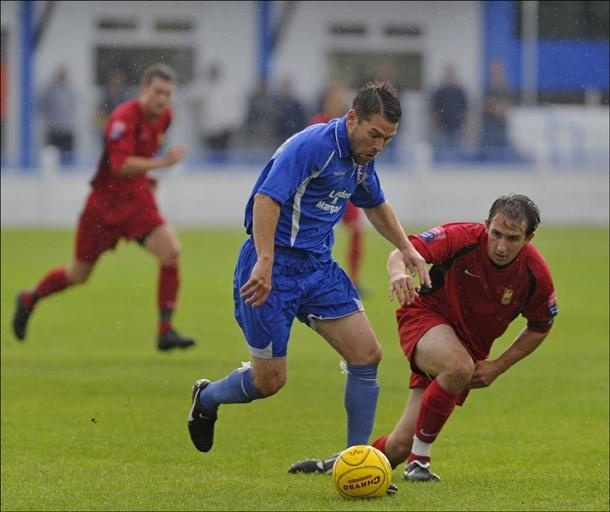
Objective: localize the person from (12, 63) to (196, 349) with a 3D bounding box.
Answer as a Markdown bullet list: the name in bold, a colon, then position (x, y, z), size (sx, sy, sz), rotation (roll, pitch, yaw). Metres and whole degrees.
- **person**: position (-1.429, -0.324, 7.388), size (1.171, 2.206, 0.546), rotation (0, 10, -7)

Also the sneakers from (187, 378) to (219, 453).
- **sneakers**: position (-0.659, 1.016, 6.258), size (0.155, 0.488, 0.174), rotation (-6, 7, -37)

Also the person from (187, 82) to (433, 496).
- **person**: position (-0.056, 0.102, 6.002), size (1.113, 2.281, 0.590), rotation (-1, 10, -14)
